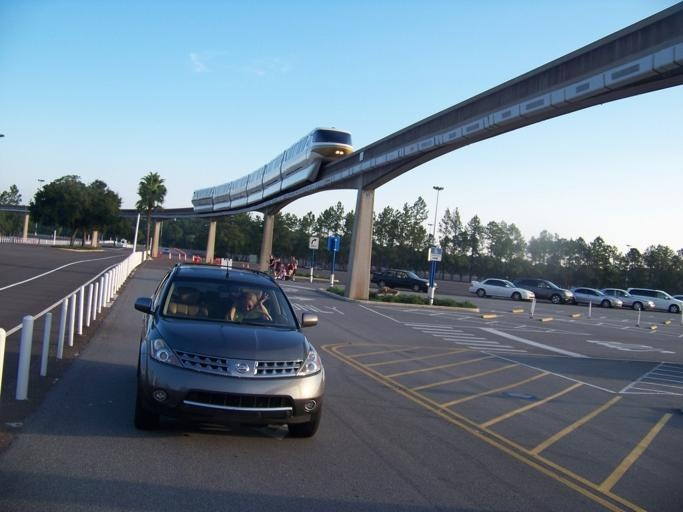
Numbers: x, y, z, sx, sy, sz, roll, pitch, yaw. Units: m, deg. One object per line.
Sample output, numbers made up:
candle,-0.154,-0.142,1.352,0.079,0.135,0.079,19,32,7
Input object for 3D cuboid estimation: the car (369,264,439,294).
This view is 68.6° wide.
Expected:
car,5.057,1.906,43.770,4.355,1.824,3.391,2,0,7

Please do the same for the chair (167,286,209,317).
chair,-2.258,0.652,7.274,0.410,0.459,0.411,3,-7,-18

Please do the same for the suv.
suv,-1.620,1.297,6.845,2.165,2.260,2.580,2,-1,-43
